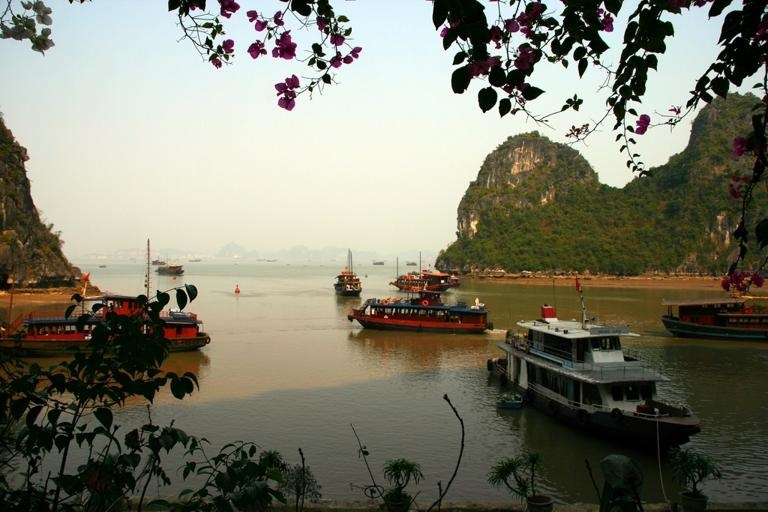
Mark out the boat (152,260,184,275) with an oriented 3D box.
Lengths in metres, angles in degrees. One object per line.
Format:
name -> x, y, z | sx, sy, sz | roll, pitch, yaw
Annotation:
boat -> -57.055, 2.976, 160.306 | 10.324, 4.475, 3.054 | 3, 13, 14

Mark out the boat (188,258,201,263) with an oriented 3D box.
boat -> -79.890, 2.352, 256.392 | 5.797, 1.824, 0.906 | -3, 12, -11

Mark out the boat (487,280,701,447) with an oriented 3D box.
boat -> 7.809, 4.300, 22.877 | 2.987, 4.136, 10.131 | -2, -3, -13
